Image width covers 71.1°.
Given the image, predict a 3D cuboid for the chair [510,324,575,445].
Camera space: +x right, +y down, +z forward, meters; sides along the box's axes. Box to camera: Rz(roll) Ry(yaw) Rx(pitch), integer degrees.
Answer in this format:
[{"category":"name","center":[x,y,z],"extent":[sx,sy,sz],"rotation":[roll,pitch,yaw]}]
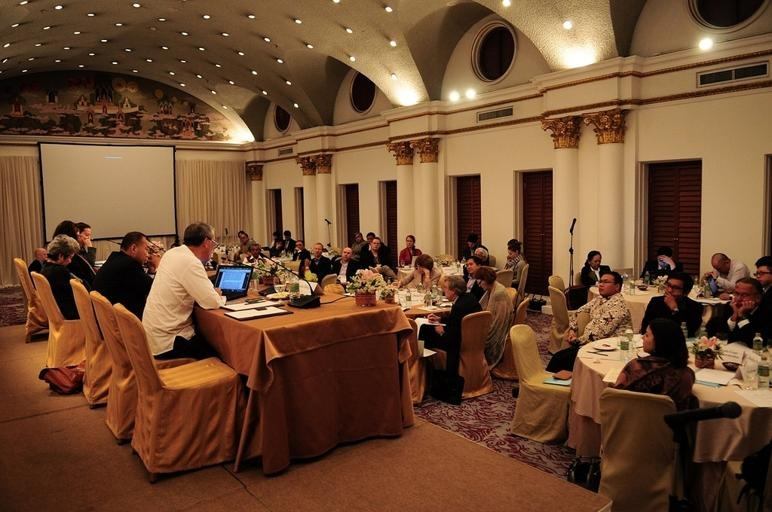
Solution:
[{"category":"chair","center":[1.867,1.530,6.562],"extent":[0.758,1.318,0.556],"rotation":[6,14,27]}]

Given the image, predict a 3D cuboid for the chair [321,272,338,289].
[{"category":"chair","center":[-1.099,0.481,10.393],"extent":[0.275,0.334,0.241],"rotation":[4,4,34]}]

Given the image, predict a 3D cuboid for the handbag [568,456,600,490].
[{"category":"handbag","center":[2.097,2.269,5.788],"extent":[0.305,0.271,0.453],"rotation":[4,13,19]}]

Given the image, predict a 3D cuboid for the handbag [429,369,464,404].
[{"category":"handbag","center":[0.845,1.822,7.481],"extent":[0.155,0.389,0.436],"rotation":[-3,4,-40]}]

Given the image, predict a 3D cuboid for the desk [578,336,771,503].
[{"category":"desk","center":[2.566,1.501,5.560],"extent":[1.578,0.622,1.619],"rotation":[-2,-3,-5]}]

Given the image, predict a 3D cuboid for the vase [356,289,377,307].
[{"category":"vase","center":[-0.228,0.484,6.234],"extent":[0.191,0.146,0.194],"rotation":[1,-3,-24]}]

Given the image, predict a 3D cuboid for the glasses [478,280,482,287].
[{"category":"glasses","center":[1.402,0.415,8.099],"extent":[0.062,0.084,0.062],"rotation":[11,7,34]}]

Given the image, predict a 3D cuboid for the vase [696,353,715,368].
[{"category":"vase","center":[3.398,1.123,5.798],"extent":[0.152,0.118,0.153],"rotation":[1,-1,-4]}]

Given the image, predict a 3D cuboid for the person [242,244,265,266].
[{"category":"person","center":[-3.097,-0.022,12.520],"extent":[0.597,0.490,0.898],"rotation":[-3,-2,-5]}]

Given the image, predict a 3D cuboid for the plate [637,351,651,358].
[{"category":"plate","center":[2.743,1.060,5.788],"extent":[0.141,0.030,0.144],"rotation":[-2,2,-7]}]

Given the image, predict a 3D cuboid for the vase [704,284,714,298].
[{"category":"vase","center":[5.049,0.568,8.527],"extent":[0.153,0.297,0.222],"rotation":[-3,-7,30]}]

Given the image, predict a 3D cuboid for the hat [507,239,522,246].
[{"category":"hat","center":[2.689,-0.267,11.530],"extent":[0.190,0.113,0.227],"rotation":[-1,6,-8]}]

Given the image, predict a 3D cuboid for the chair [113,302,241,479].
[{"category":"chair","center":[-2.366,1.519,6.783],"extent":[1.691,2.412,1.515],"rotation":[-2,5,-32]}]

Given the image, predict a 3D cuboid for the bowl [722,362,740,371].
[{"category":"bowl","center":[3.635,1.183,5.731],"extent":[0.137,0.070,0.179],"rotation":[4,14,22]}]

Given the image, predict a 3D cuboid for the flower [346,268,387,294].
[{"category":"flower","center":[-0.268,0.309,6.340],"extent":[0.317,0.226,0.319],"rotation":[-1,0,43]}]

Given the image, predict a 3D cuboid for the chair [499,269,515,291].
[{"category":"chair","center":[2.307,0.475,10.558],"extent":[0.327,0.400,0.349],"rotation":[0,14,0]}]

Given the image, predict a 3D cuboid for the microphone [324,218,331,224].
[{"category":"microphone","center":[-1.933,-1.125,17.965],"extent":[0.355,0.111,0.086],"rotation":[29,6,27]}]

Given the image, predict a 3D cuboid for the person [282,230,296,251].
[{"category":"person","center":[-2.846,-0.450,15.828],"extent":[0.280,0.576,1.197],"rotation":[-3,13,-10]}]

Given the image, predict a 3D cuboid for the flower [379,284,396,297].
[{"category":"flower","center":[0.000,0.473,7.315],"extent":[0.189,0.141,0.190],"rotation":[-1,3,-24]}]

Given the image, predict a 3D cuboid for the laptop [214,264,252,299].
[{"category":"laptop","center":[-2.044,0.325,6.814],"extent":[0.628,0.376,0.524],"rotation":[1,2,36]}]

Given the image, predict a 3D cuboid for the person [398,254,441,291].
[{"category":"person","center":[0.614,0.344,10.099],"extent":[0.645,1.001,0.667],"rotation":[-1,11,-27]}]

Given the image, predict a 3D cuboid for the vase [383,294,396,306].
[{"category":"vase","center":[0.045,0.588,7.250],"extent":[0.133,0.127,0.136],"rotation":[1,-1,-15]}]

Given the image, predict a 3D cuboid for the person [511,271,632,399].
[{"category":"person","center":[2.772,1.123,7.413],"extent":[1.026,1.835,0.764],"rotation":[1,6,-3]}]

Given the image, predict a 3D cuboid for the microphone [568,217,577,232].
[{"category":"microphone","center":[3.982,-0.652,11.633],"extent":[0.133,0.332,0.216],"rotation":[6,15,29]}]

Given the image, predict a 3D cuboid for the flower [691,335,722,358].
[{"category":"flower","center":[3.414,0.983,5.858],"extent":[0.232,0.140,0.237],"rotation":[1,-3,-15]}]
